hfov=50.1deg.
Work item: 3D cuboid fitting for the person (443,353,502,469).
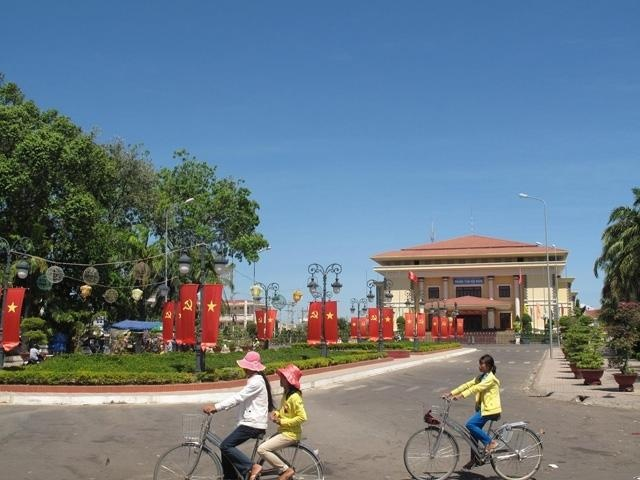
[{"bbox_3d":[3.358,3.657,15.235,1.248,2.488,0.844,1,-3,-25],"label":"person"}]

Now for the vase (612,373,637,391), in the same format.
[{"bbox_3d":[11.324,5.287,25.470,0.729,0.669,0.782,-3,-10,16],"label":"vase"}]
